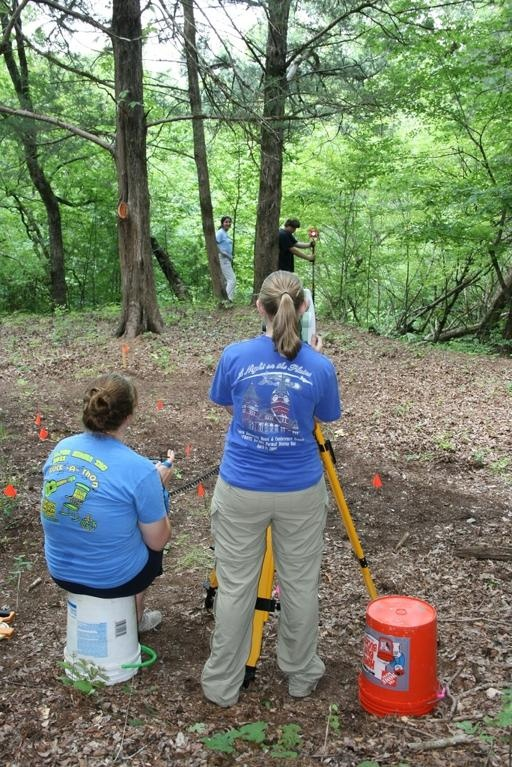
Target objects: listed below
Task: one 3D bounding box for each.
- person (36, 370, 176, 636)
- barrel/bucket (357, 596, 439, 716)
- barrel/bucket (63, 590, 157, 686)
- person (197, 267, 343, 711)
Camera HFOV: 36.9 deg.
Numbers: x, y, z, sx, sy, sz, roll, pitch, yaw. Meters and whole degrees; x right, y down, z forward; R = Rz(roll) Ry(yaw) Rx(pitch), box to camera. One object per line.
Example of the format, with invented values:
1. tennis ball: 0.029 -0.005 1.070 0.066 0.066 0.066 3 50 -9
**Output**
1. person: -0.705 0.507 3.597 0.587 1.067 0.331 -4 15 -14
2. barrel/bucket: 0.678 1.267 3.585 0.458 0.408 0.426 -1 9 0
3. barrel/bucket: -0.701 1.204 3.715 0.461 0.392 0.388 0 -5 -10
4. person: 0.056 0.503 3.528 0.698 1.996 0.455 -3 15 -8
